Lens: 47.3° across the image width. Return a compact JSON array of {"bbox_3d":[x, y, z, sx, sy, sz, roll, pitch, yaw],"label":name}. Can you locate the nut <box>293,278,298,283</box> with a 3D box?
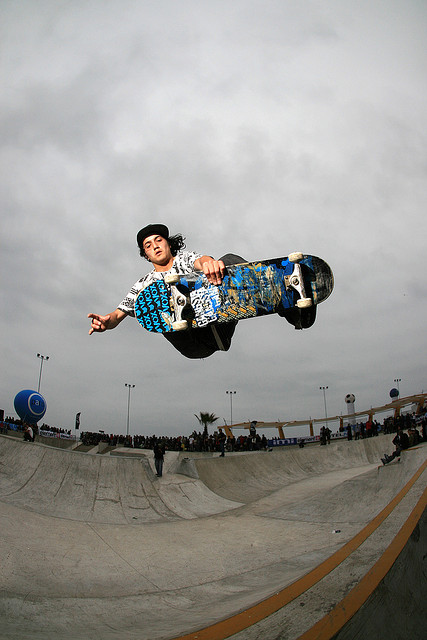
[{"bbox_3d":[0.656,-0.313,3.910,0.037,0.036,0.010,-1,-15,19],"label":"nut"}]

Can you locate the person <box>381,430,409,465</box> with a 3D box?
[{"bbox_3d":[4.080,2.886,10.895,0.550,0.685,1.757,-2,-15,22],"label":"person"}]

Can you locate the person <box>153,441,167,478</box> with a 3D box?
[{"bbox_3d":[-1.340,3.457,11.817,0.247,0.759,0.940,5,-14,-5],"label":"person"}]

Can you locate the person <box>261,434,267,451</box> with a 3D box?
[{"bbox_3d":[2.361,5.845,22.755,0.286,0.687,0.956,2,-14,6],"label":"person"}]
